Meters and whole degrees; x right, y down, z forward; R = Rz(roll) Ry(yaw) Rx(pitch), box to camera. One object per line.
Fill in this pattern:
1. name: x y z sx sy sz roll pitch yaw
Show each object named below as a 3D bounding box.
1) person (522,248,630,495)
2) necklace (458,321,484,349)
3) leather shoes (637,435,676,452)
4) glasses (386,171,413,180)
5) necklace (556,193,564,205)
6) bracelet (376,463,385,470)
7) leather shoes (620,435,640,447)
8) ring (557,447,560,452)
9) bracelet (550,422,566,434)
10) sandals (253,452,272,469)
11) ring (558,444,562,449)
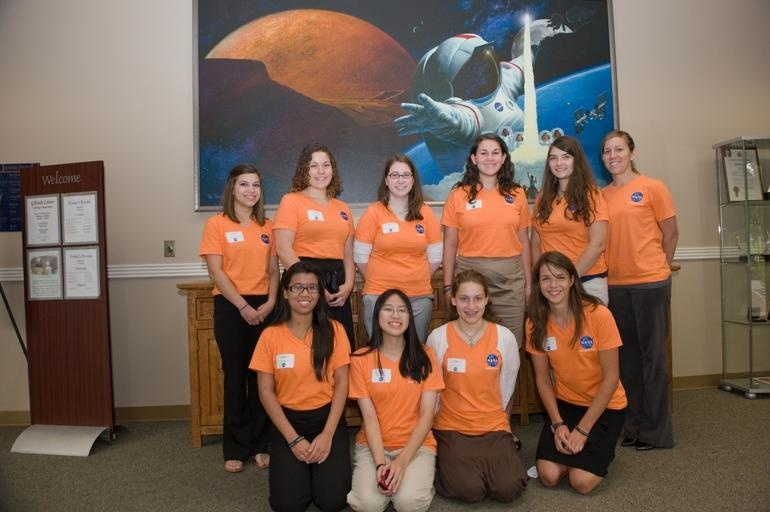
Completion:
1. person: 1.437 0.842 4.289 0.698 1.213 0.421 -4 2 13
2. necklace: 0.645 0.579 4.315 0.145 0.214 0.050 0 10 3
3. leather shoes: 2.186 1.539 4.647 0.317 0.120 0.091 -6 -34 4
4. glasses: 0.120 -0.631 4.459 0.187 0.041 0.053 -5 2 -6
5. necklace: 1.442 -0.466 4.647 0.050 0.056 0.079 -2 38 41
6. bracelet: -0.034 1.474 3.982 0.043 0.046 0.045 0 -3 17
7. leather shoes: 2.013 1.528 4.666 0.115 0.051 0.059 3 -9 8
8. ring: 1.286 1.438 4.210 0.017 0.023 0.007 -3 -39 12
9. bracelet: 1.287 1.277 4.257 0.094 0.058 0.096 -2 -44 -15
10. sandals: -0.974 1.628 4.522 0.088 0.066 0.227 1 -4 -16
11. ring: 1.294 1.410 4.194 0.021 0.023 0.023 0 2 0
